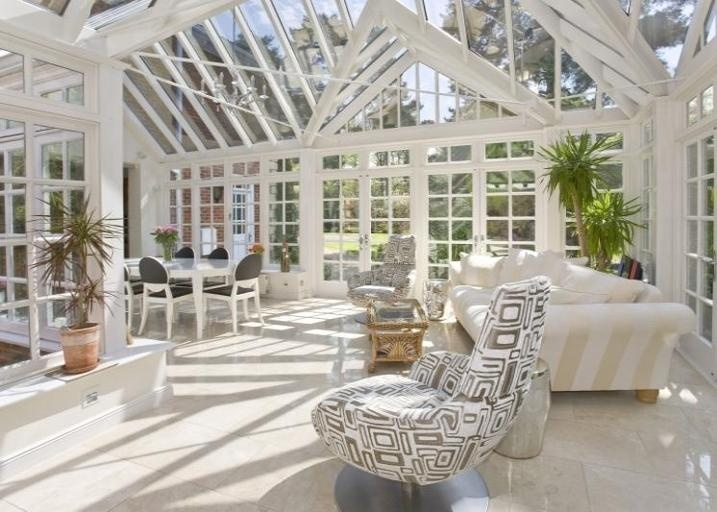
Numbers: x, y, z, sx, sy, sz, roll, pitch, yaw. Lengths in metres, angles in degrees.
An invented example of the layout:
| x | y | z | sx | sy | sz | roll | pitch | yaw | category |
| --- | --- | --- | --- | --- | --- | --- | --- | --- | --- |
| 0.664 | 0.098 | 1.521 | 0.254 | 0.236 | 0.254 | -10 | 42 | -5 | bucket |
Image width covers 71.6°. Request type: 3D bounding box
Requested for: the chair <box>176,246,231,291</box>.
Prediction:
| x | y | z | sx | sy | sz | roll | pitch | yaw | category |
| --- | --- | --- | --- | --- | --- | --- | --- | --- | --- |
| -2.540 | 0.165 | 8.155 | 0.815 | 1.234 | 0.728 | 1 | -5 | -18 | chair |

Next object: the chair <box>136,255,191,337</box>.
| x | y | z | sx | sy | sz | roll | pitch | yaw | category |
| --- | --- | --- | --- | --- | --- | --- | --- | --- | --- |
| -2.464 | 0.489 | 6.437 | 0.502 | 0.962 | 0.600 | 4 | 8 | 24 | chair |

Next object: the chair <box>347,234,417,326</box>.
| x | y | z | sx | sy | sz | roll | pitch | yaw | category |
| --- | --- | --- | --- | --- | --- | --- | --- | --- | --- |
| 0.381 | 0.309 | 7.148 | 0.942 | 1.226 | 1.092 | 2 | 6 | 28 | chair |

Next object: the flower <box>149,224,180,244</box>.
| x | y | z | sx | sy | sz | roll | pitch | yaw | category |
| --- | --- | --- | --- | --- | --- | --- | --- | --- | --- |
| -2.837 | -0.314 | 7.335 | 0.297 | 0.255 | 0.446 | -2 | 3 | -26 | flower |

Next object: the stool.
| x | y | z | sx | sy | sz | roll | pitch | yaw | category |
| --- | --- | --- | --- | --- | --- | --- | --- | --- | --- |
| 1.246 | 1.184 | 3.977 | 0.616 | 0.637 | 0.626 | 2 | 3 | 11 | stool |

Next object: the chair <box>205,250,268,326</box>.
| x | y | z | sx | sy | sz | roll | pitch | yaw | category |
| --- | --- | --- | --- | --- | --- | --- | --- | --- | --- |
| -1.656 | 0.441 | 6.647 | 0.627 | 0.977 | 0.589 | 7 | 10 | 28 | chair |

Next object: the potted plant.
| x | y | z | sx | sy | sz | roll | pitch | yaw | category |
| --- | --- | --- | --- | --- | --- | --- | --- | --- | --- |
| -2.235 | 0.195 | 4.059 | 0.685 | 1.429 | 0.506 | -4 | 5 | -40 | potted plant |

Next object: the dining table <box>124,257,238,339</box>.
| x | y | z | sx | sy | sz | roll | pitch | yaw | category |
| --- | --- | --- | --- | --- | --- | --- | --- | --- | --- |
| -2.387 | 0.340 | 6.600 | 1.605 | 1.099 | 1.076 | 3 | 5 | 25 | dining table |
